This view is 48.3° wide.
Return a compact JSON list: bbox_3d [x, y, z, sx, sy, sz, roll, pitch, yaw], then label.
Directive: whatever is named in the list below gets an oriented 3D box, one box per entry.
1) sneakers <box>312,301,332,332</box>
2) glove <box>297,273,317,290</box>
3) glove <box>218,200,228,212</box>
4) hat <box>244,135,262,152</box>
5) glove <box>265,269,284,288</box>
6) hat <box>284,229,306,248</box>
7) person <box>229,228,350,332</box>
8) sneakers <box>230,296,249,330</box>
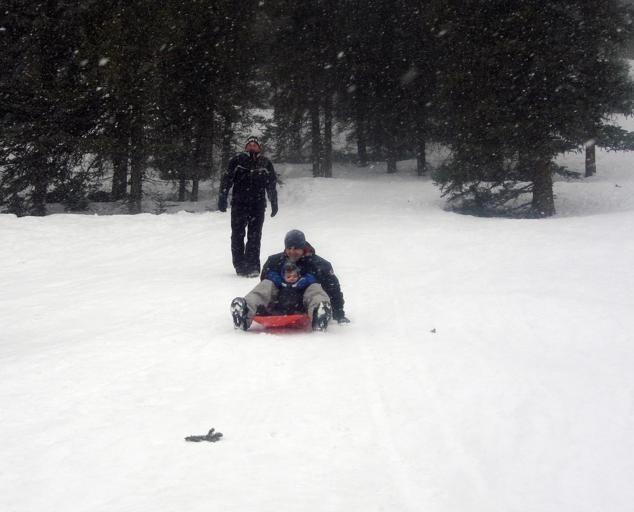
[{"bbox_3d":[0.048,0.689,8.085,0.181,0.332,0.133,14,13,0],"label":"sneakers"},{"bbox_3d":[-0.140,0.282,8.452,0.156,0.095,0.229,8,26,16],"label":"glove"},{"bbox_3d":[-1.504,-0.795,10.988,0.039,0.161,0.155,3,2,44],"label":"glove"},{"bbox_3d":[-1.052,-1.768,11.205,0.178,0.247,0.252,0,-24,-4],"label":"hat"},{"bbox_3d":[-0.492,0.255,8.432,0.170,0.058,0.184,6,50,-17],"label":"glove"},{"bbox_3d":[-0.276,-0.216,8.616,0.197,0.188,0.220,1,16,-8],"label":"hat"},{"bbox_3d":[-0.328,0.237,8.522,1.240,1.141,1.704,4,12,4],"label":"person"},{"bbox_3d":[-0.870,0.656,8.084,0.209,0.439,0.222,-2,11,-7],"label":"sneakers"}]
